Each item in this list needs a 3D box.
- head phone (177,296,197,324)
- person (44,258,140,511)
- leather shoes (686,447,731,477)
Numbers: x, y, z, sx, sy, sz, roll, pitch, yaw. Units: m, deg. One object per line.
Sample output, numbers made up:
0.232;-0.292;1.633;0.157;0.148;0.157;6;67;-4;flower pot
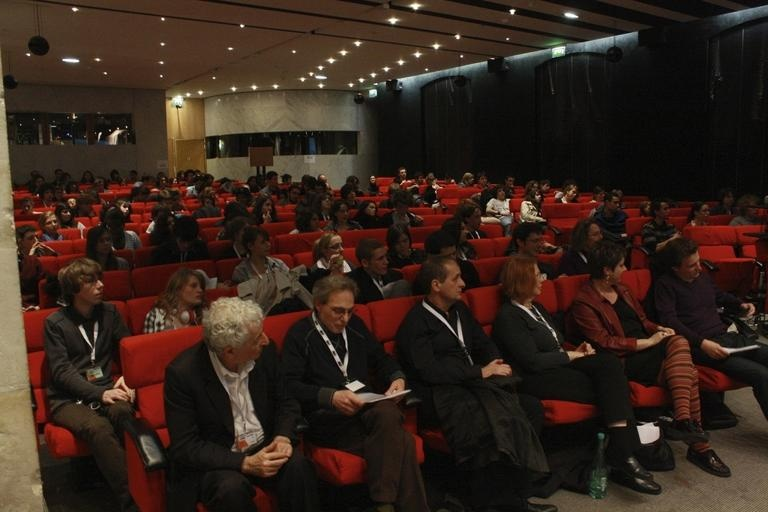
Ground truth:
-1.537;0.415;4.189;0.075;0.208;0.208;-5;-1;11;head phone
-2.088;0.955;3.883;0.571;1.340;0.862;-7;10;-33;person
2.537;1.587;4.231;0.119;0.124;0.283;-12;11;-32;leather shoes
